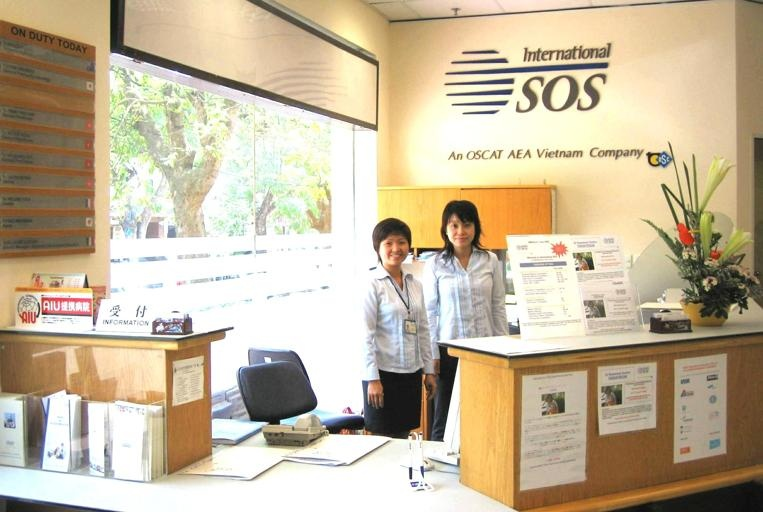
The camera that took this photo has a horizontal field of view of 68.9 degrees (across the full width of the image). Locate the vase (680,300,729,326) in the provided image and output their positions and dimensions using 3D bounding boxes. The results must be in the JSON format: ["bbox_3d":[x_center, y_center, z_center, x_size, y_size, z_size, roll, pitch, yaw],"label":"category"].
[{"bbox_3d":[1.735,0.302,2.967,0.165,0.074,0.165,1,-7,2],"label":"vase"}]

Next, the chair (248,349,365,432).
[{"bbox_3d":[-0.625,1.100,4.086,0.633,0.738,0.677,-1,-14,-41],"label":"chair"}]

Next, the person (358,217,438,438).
[{"bbox_3d":[0.098,0.538,4.008,0.550,1.586,0.394,-2,10,-15],"label":"person"}]
